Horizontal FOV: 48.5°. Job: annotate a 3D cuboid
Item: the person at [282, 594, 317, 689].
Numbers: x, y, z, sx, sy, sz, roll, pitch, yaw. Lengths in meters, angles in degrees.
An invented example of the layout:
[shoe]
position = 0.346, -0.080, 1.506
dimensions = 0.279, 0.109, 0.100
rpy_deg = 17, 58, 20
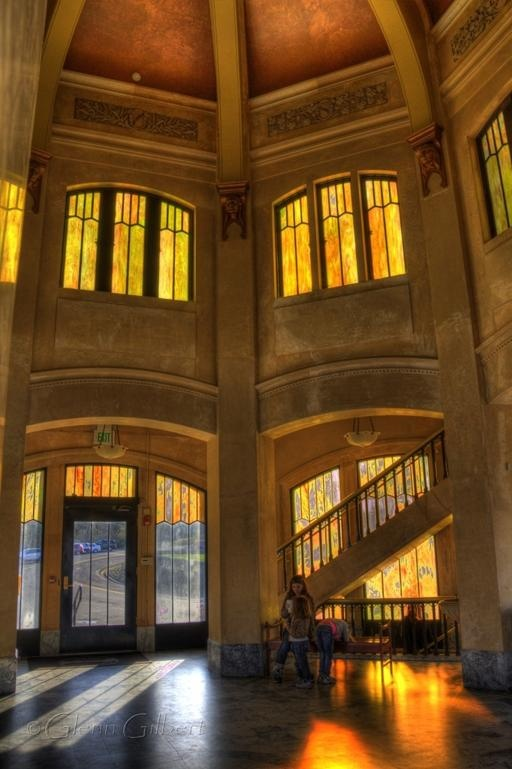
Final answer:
[person]
position = 0.489, 2.885, 6.447
dimensions = 0.302, 0.957, 0.446
rpy_deg = -3, -17, 3

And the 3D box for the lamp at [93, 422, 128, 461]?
[lamp]
position = -2.577, 0.983, 9.864
dimensions = 0.484, 0.780, 1.412
rpy_deg = 3, -19, -16
